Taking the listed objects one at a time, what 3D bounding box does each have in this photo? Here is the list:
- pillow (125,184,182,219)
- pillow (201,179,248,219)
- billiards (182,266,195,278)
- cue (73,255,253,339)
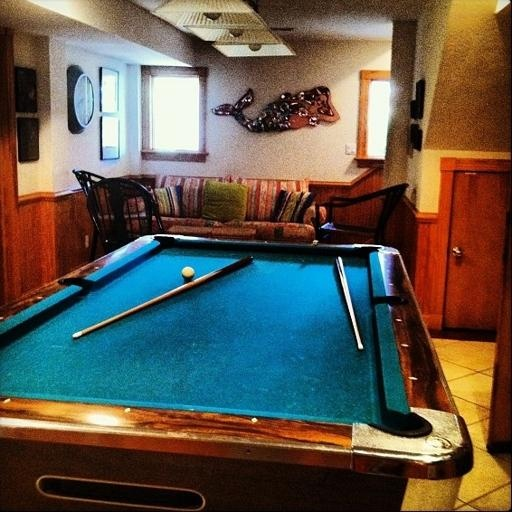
[{"bbox_3d":[-0.962,-0.591,5.449,0.465,0.349,0.123,1,-1,11],"label":"pillow"},{"bbox_3d":[-0.328,-0.573,5.226,0.480,0.415,0.429,0,12,-2],"label":"pillow"},{"bbox_3d":[-0.274,0.062,2.042,0.053,0.043,0.050,13,-29,-35],"label":"billiards"},{"bbox_3d":[-0.333,0.149,1.766,0.070,0.062,1.080,31,27,32],"label":"cue"}]
